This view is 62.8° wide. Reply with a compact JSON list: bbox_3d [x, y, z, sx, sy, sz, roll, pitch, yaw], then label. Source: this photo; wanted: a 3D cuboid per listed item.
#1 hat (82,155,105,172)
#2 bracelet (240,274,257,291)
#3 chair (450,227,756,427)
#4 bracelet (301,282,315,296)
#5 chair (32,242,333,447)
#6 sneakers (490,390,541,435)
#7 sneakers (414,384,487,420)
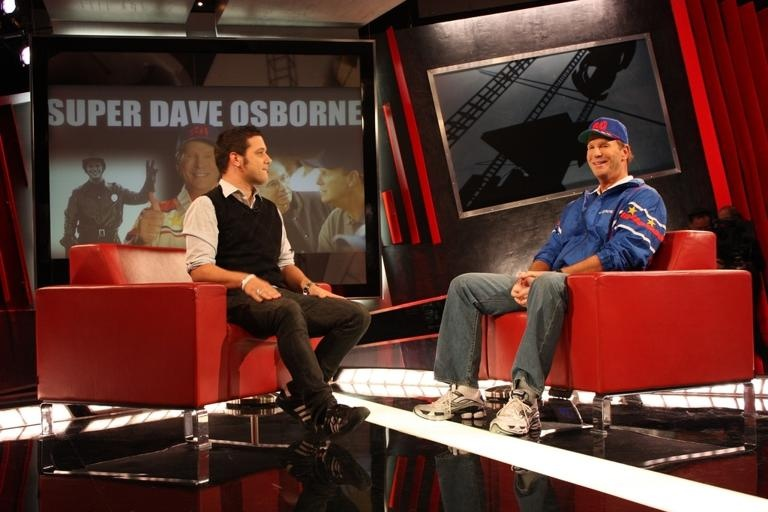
[{"bbox_3d":[-2.365,-0.752,5.127,0.138,0.128,0.032,0,11,-15],"label":"hat"},{"bbox_3d":[-0.728,0.138,3.391,0.075,0.067,0.075,5,-6,-45],"label":"bracelet"},{"bbox_3d":[1.348,0.375,3.970,1.109,0.920,1.498,-1,-4,-20],"label":"chair"},{"bbox_3d":[-0.454,0.191,3.725,0.051,0.075,0.074,8,1,38],"label":"bracelet"},{"bbox_3d":[-1.070,0.447,3.867,1.125,0.978,1.517,-2,-1,25],"label":"chair"},{"bbox_3d":[0.681,0.821,3.248,0.152,0.146,0.313,-4,-10,32],"label":"sneakers"},{"bbox_3d":[0.389,0.834,3.596,0.464,0.218,0.172,1,-6,-6],"label":"sneakers"}]
